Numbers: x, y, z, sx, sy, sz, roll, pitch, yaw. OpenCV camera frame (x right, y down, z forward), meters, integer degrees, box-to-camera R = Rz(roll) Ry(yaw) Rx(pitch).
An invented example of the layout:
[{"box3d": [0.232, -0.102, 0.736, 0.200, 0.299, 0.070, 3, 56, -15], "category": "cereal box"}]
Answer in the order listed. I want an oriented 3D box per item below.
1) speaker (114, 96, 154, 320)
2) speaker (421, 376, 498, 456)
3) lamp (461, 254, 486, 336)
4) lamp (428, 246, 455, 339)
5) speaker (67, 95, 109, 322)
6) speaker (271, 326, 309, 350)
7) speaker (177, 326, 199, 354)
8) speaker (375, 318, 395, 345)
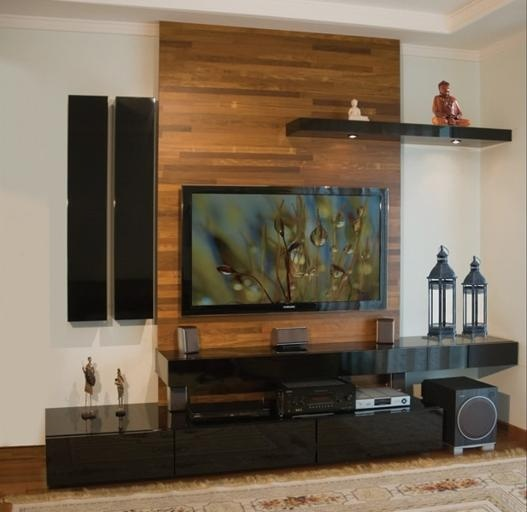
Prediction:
[{"box3d": [-0.850, -0.316, 3.732, 0.265, 1.452, 0.122, -1, 5, -17], "category": "speaker"}, {"box3d": [1.361, 1.106, 4.014, 0.381, 0.482, 0.542, 0, 1, -11], "category": "speaker"}, {"box3d": [1.608, 0.313, 4.328, 0.174, 0.584, 0.117, 3, 5, 31], "category": "lamp"}, {"box3d": [1.341, 0.277, 4.268, 0.186, 0.669, 0.115, 4, 6, 40], "category": "lamp"}, {"box3d": [-1.142, -0.306, 3.676, 0.256, 1.445, 0.094, -1, 5, -18], "category": "speaker"}, {"box3d": [0.181, 0.565, 3.906, 0.254, 0.145, 0.168, 1, -8, -21], "category": "speaker"}, {"box3d": [-0.493, 0.547, 3.700, 0.112, 0.175, 0.184, 0, 3, -15], "category": "speaker"}, {"box3d": [0.873, 0.543, 4.098, 0.160, 0.232, 0.161, 0, 1, 7], "category": "speaker"}]
